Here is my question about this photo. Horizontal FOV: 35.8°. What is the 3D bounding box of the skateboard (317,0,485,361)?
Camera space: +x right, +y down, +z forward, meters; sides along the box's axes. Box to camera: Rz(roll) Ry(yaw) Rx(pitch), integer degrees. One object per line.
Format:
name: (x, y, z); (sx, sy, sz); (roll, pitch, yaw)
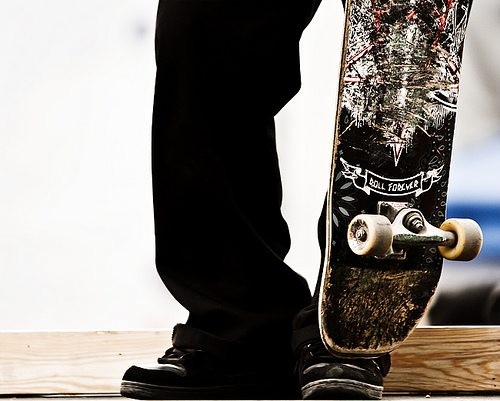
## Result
skateboard: (0.453, -0.114, 2.417); (0.370, 1.371, 0.200); (2, 5, -13)
